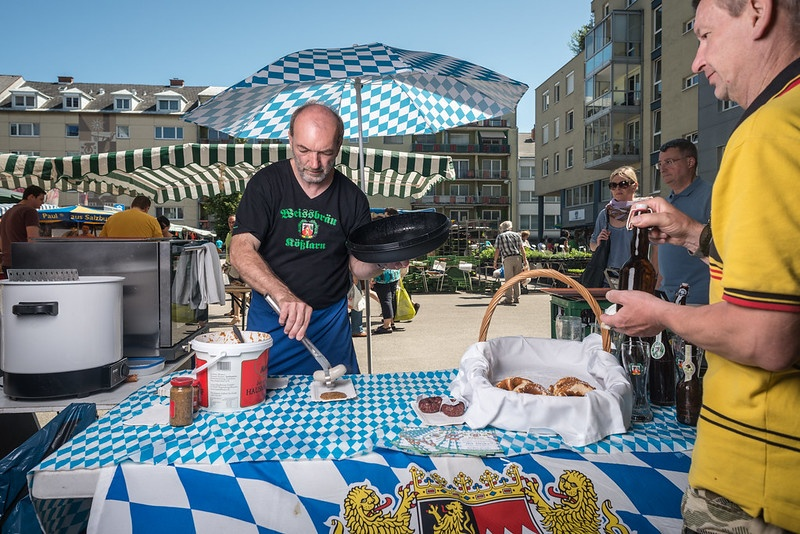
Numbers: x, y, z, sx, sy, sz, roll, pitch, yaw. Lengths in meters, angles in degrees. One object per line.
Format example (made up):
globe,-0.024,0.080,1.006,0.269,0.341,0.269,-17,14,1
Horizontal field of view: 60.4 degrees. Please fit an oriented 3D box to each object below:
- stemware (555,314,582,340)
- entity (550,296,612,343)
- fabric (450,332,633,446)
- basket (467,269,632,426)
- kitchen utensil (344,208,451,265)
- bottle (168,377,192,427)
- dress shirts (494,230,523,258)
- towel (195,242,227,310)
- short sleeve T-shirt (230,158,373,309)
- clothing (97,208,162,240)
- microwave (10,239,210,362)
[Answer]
stemware,1.003,0.356,4.057,0.124,0.128,0.168,-1,-6,7
entity,1.457,0.380,5.428,0.519,0.376,0.311,2,-10,-28
fabric,0.663,0.576,3.148,0.531,0.164,0.543,-4,13,6
basket,0.678,0.357,3.287,0.878,0.627,0.767,2,20,33
kitchen utensil,-0.019,-0.179,3.987,0.584,0.287,0.731,-3,4,-7
bottle,-1.011,0.611,3.148,0.116,0.212,0.117,2,3,0
dress shirts,2.269,-0.468,14.378,0.616,0.577,0.517,0,4,27
towel,-1.543,0.002,5.514,0.201,0.461,0.445,-2,14,-9
short sleeve T-shirt,-0.551,-0.185,4.467,0.962,0.970,0.523,8,29,-1
clothing,-3.631,-0.607,9.222,0.637,0.388,0.886,-4,4,-23
microwave,-1.889,0.196,5.175,0.939,0.804,1.230,0,0,-1
